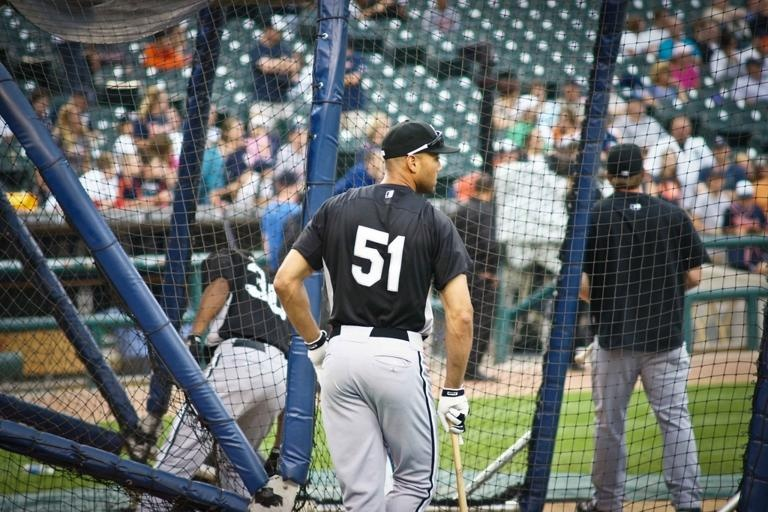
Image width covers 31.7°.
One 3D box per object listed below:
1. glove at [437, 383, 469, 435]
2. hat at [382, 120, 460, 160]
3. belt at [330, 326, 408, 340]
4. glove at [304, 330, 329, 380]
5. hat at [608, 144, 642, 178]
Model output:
[{"bbox_3d":[0.642,1.453,12.661,0.298,0.425,0.152,-15,5,7],"label":"glove"},{"bbox_3d":[0.270,-1.091,12.801,0.515,0.323,0.395,-4,9,-3],"label":"hat"},{"bbox_3d":[-0.141,0.722,12.542,0.725,0.131,0.092,0,1,6],"label":"belt"},{"bbox_3d":[-0.644,0.941,12.836,0.206,0.464,0.474,0,1,-3],"label":"glove"},{"bbox_3d":[2.474,-0.979,13.931,0.260,0.393,0.203,4,-25,8],"label":"hat"}]
